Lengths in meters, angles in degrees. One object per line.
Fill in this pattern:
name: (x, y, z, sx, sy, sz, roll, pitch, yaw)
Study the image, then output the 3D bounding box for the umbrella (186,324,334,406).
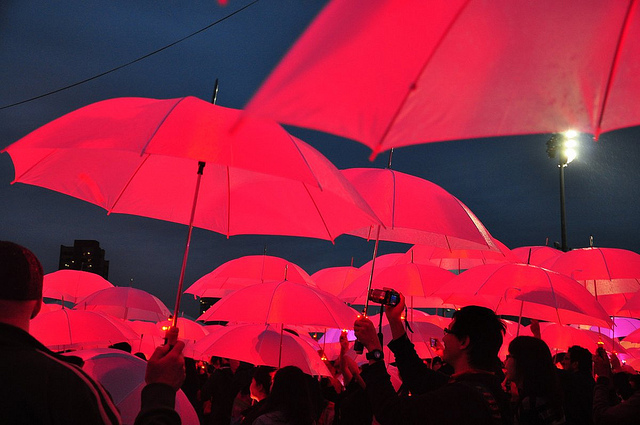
umbrella: (-0.871, 2.419, 9.429, 1.652, 1.115, 1.581, 9, -27, 8)

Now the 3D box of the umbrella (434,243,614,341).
umbrella: (3.518, 1.340, 9.576, 1.966, 1.742, 1.899, 18, -27, 34)

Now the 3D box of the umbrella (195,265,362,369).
umbrella: (-0.535, 1.701, 9.215, 1.863, 1.579, 1.837, 3, -19, 1)

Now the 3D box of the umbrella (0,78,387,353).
umbrella: (-1.332, -0.327, 6.724, 3.362, 2.917, 3.266, 16, -17, 22)

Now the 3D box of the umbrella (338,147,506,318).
umbrella: (0.916, 0.244, 8.580, 2.354, 2.147, 2.300, 15, 15, 22)

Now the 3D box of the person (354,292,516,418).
person: (1.176, 1.526, 5.773, 1.435, 1.359, 1.001, -2, -35, 6)

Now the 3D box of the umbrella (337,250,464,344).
umbrella: (1.928, 1.770, 11.994, 2.155, 1.861, 2.310, -4, 8, -11)

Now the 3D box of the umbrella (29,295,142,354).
umbrella: (-3.738, 1.797, 9.173, 1.519, 0.785, 1.544, -13, -26, 30)

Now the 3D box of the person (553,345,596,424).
person: (3.659, 2.492, 8.093, 0.620, 1.350, 0.573, 7, -63, 21)
